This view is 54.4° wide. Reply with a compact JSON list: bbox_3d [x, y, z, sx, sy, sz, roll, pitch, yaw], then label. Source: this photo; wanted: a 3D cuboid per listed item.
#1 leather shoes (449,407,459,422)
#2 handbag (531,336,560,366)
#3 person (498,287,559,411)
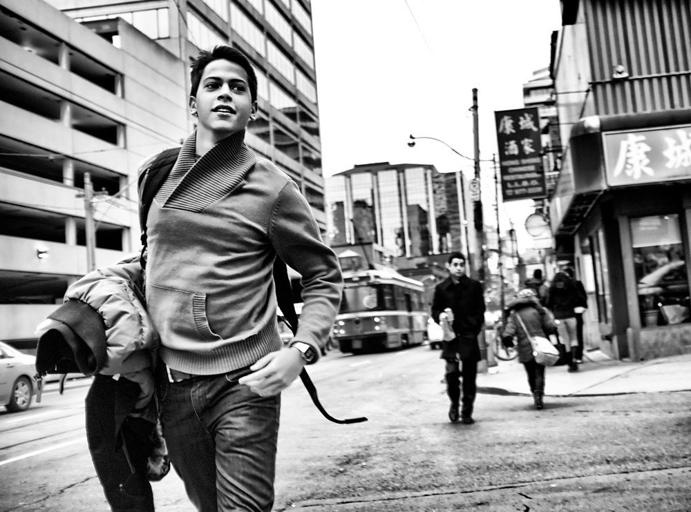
[{"bbox_3d":[1.548,2.260,9.612,0.084,0.184,0.204,-4,25,-8],"label":"leather shoes"},{"bbox_3d":[3.145,1.481,10.723,0.431,0.187,0.491,31,19,-3],"label":"handbag"},{"bbox_3d":[3.026,1.329,11.026,0.844,1.135,1.040,-8,-5,15],"label":"person"}]
